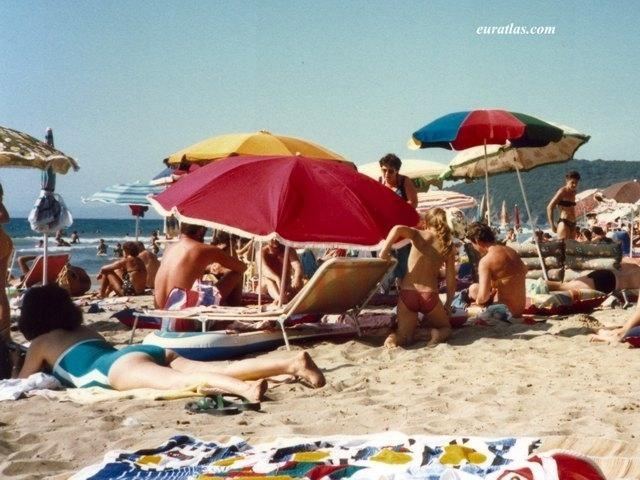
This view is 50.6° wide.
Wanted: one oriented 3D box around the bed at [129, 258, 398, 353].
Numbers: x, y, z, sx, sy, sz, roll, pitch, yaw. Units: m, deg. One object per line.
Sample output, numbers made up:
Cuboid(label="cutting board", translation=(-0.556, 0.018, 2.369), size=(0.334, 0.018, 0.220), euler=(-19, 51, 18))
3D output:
Cuboid(label="bed", translation=(-0.321, 0.702, 6.394), size=(1.596, 0.578, 1.196), euler=(-4, -6, 32))

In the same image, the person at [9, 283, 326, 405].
Cuboid(label="person", translation=(-1.055, 0.801, 5.281), size=(2.747, 0.843, 0.914), euler=(-1, -5, 23))

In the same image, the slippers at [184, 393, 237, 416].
Cuboid(label="slippers", translation=(-0.763, 1.160, 4.734), size=(0.240, 0.087, 0.161), euler=(-1, -2, 18))

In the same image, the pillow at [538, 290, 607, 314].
Cuboid(label="pillow", translation=(2.865, 0.727, 7.741), size=(0.557, 0.130, 0.357), euler=(-2, 5, 2))

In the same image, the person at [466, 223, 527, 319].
Cuboid(label="person", translation=(1.933, 0.337, 7.480), size=(0.623, 1.065, 0.615), euler=(0, 6, 22))
